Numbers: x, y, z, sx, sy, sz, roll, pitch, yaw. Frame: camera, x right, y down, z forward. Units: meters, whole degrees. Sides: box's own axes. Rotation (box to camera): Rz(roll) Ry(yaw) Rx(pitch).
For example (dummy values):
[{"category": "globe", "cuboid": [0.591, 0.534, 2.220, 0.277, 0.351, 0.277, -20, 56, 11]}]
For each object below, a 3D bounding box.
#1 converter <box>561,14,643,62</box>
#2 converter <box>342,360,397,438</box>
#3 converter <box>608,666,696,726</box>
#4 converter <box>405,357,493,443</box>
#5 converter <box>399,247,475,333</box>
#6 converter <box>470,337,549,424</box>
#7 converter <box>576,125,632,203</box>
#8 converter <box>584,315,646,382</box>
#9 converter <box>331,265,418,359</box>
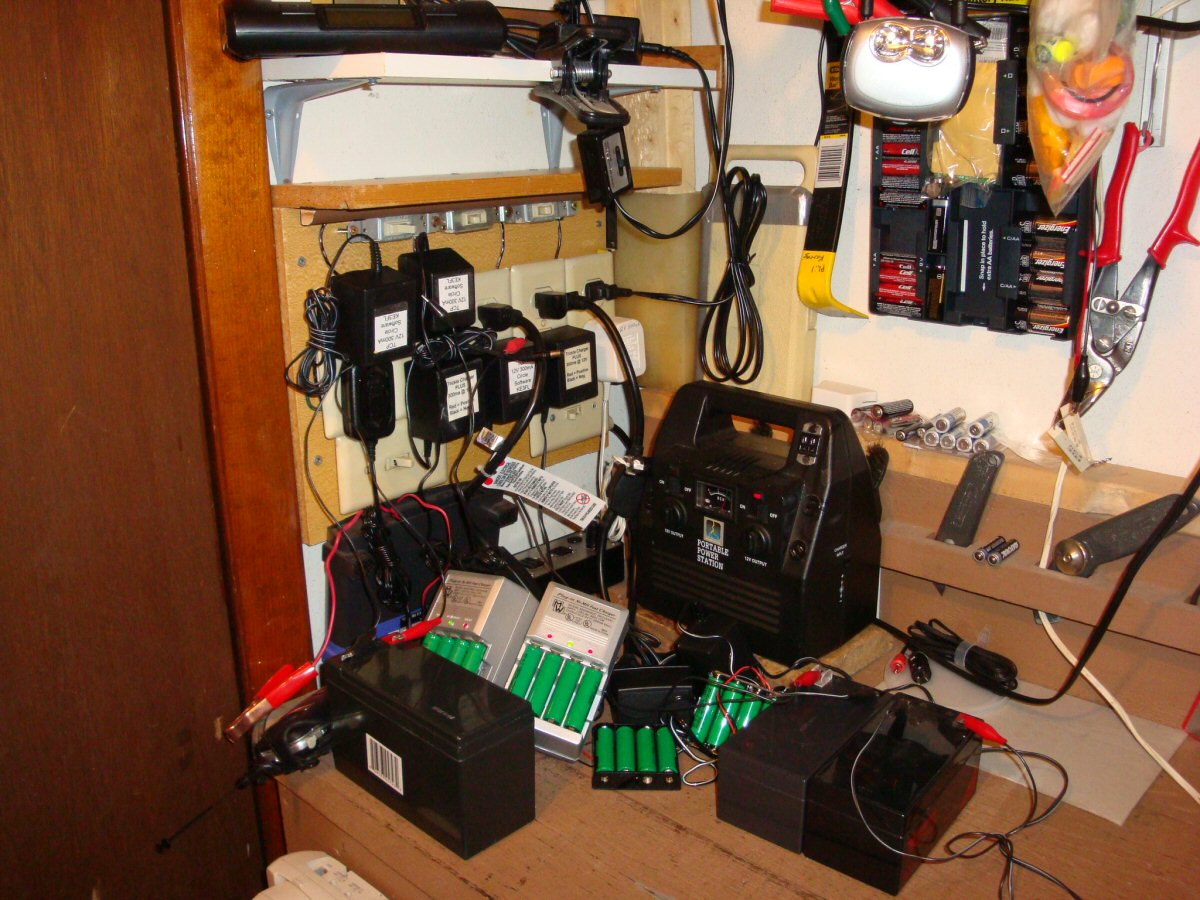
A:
[{"category": "converter", "cuboid": [-0.002, -0.693, 1.635, 0.122, 0.085, 0.046, -5, 12, -33]}, {"category": "converter", "cuboid": [-0.403, -0.090, 1.677, 0.052, 0.167, 0.100, 13, 19, 37]}, {"category": "converter", "cuboid": [0.089, 0.411, 1.623, 0.147, 0.107, 0.087, -2, 48, -1]}, {"category": "converter", "cuboid": [-0.275, -0.089, 1.840, 0.129, 0.176, 0.179, 13, 22, 34]}, {"category": "converter", "cuboid": [-0.292, -0.279, 1.703, 0.099, 0.123, 0.089, -26, 44, -36]}, {"category": "converter", "cuboid": [-0.174, -0.124, 1.872, 0.095, 0.157, 0.116, -20, 32, -40]}, {"category": "converter", "cuboid": [0.007, -0.520, 1.772, 0.101, 0.134, 0.096, 4, 22, 4]}, {"category": "converter", "cuboid": [-0.009, -0.167, 1.971, 0.078, 0.146, 0.145, 0, 2, -23]}, {"category": "converter", "cuboid": [-0.384, -0.228, 1.646, 0.082, 0.155, 0.138, 23, 28, 39]}]
